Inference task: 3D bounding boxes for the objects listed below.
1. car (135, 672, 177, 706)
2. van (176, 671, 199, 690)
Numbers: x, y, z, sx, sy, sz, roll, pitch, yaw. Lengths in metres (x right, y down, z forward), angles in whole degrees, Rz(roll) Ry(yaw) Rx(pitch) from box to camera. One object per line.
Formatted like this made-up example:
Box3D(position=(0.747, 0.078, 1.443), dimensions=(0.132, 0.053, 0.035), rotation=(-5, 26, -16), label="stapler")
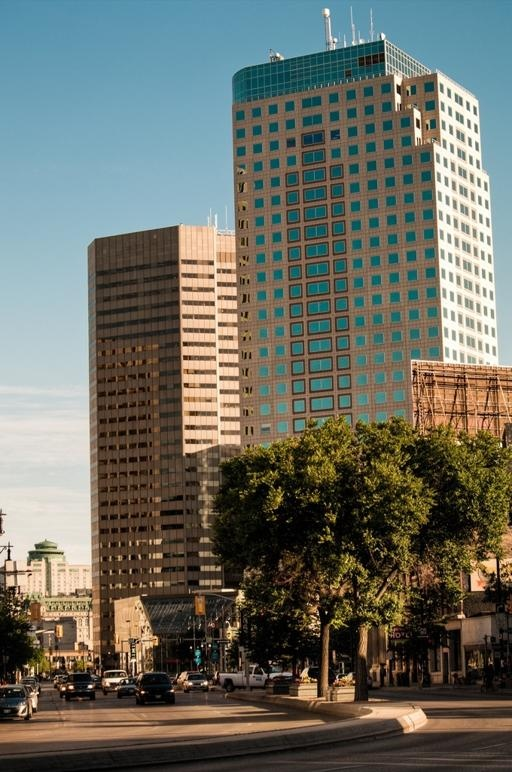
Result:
Box3D(position=(-5.076, 15.097, 77.115), dimensions=(1.801, 1.623, 2.215), rotation=(-8, 1, -7), label="car")
Box3D(position=(-4.442, 20.212, 107.032), dimensions=(1.430, 1.328, 3.251), rotation=(2, -14, -13), label="van")
